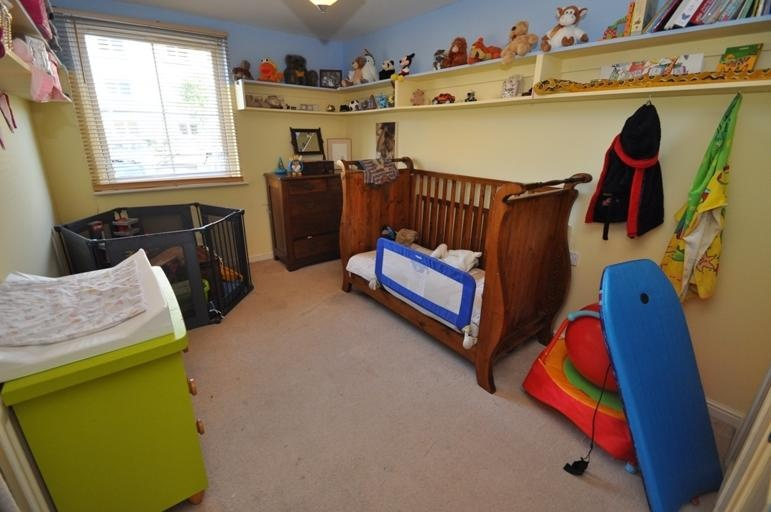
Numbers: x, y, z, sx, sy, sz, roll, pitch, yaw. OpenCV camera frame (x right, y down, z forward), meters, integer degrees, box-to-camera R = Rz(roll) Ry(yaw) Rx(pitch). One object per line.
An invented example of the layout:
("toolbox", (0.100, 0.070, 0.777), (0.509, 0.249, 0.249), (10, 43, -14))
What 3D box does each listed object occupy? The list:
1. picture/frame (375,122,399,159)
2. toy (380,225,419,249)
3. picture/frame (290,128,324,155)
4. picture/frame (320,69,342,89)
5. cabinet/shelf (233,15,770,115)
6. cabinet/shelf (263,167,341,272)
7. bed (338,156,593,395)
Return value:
("picture/frame", (0.020, -1.211, 5.119), (0.048, 0.469, 0.334), (-14, 27, -32))
("toy", (0.117, -0.190, 4.642), (0.255, 0.117, 0.229), (10, 16, 9))
("picture/frame", (-0.889, -1.261, 5.398), (0.275, 0.214, 0.018), (-22, 26, -24))
("picture/frame", (-0.596, -1.879, 5.236), (0.262, 0.286, 0.030), (-2, 7, -20))
("cabinet/shelf", (0.659, -1.557, 4.360), (4.367, 0.655, 1.255), (9, 21, 25))
("cabinet/shelf", (-0.746, -0.446, 5.431), (0.984, 0.952, 0.572), (-11, 18, -31))
("bed", (0.474, -0.077, 4.161), (1.916, 1.400, 1.118), (17, 20, 39))
